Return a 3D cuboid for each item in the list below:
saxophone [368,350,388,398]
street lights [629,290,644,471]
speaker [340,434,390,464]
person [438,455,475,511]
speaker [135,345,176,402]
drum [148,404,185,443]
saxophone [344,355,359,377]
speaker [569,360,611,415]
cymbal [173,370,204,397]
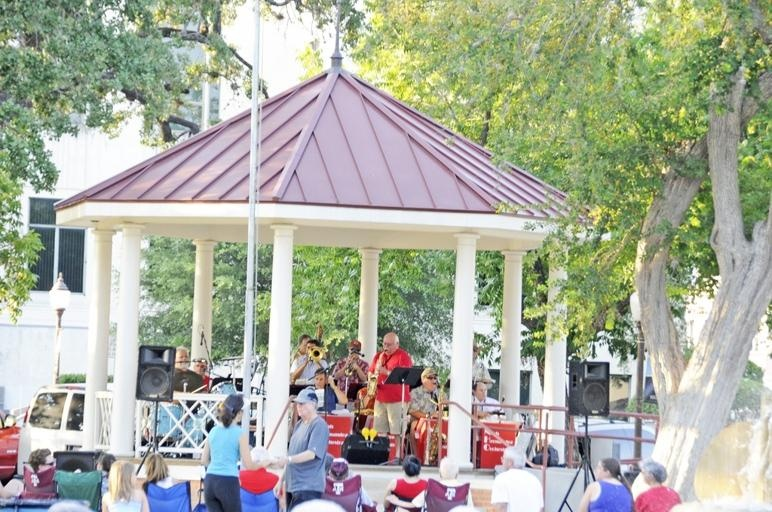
[{"bbox_3d":[-0.251,2.674,36.913,0.272,1.156,0.393,8,5,1],"label":"saxophone"},{"bbox_3d":[5.524,2.837,36.822,0.407,4.145,0.663,2,4,20],"label":"street lights"},{"bbox_3d":[-0.472,4.010,35.086,0.800,0.581,0.584,2,0,-9],"label":"speaker"},{"bbox_3d":[1.286,4.397,31.520,0.643,1.096,0.532,2,-5,0],"label":"person"},{"bbox_3d":[-4.806,2.480,33.995,0.748,1.163,0.374,3,-8,-11],"label":"speaker"},{"bbox_3d":[-4.766,3.651,35.382,0.611,0.975,0.666,-1,-30,0],"label":"drum"},{"bbox_3d":[-0.830,2.525,37.235,0.130,0.395,0.262,-5,0,20],"label":"saxophone"},{"bbox_3d":[4.173,2.792,33.942,0.800,1.165,0.482,1,-8,3],"label":"speaker"},{"bbox_3d":[-4.350,2.767,35.859,0.618,0.492,0.256,3,-9,-12],"label":"cymbal"}]
